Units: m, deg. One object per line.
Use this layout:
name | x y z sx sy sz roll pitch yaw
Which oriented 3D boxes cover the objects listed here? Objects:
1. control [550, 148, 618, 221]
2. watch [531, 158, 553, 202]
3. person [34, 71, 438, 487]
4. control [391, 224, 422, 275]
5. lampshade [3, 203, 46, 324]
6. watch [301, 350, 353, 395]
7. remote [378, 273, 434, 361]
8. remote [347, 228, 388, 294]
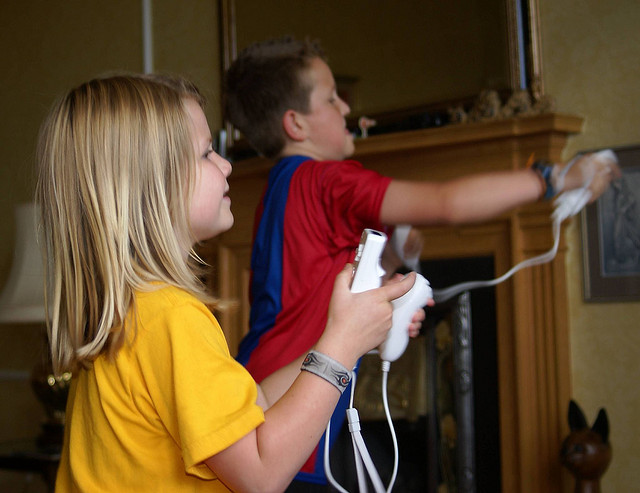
control | 0.499 -0.112 1.337 0.055 0.037 0.140 -2 -42 -50
watch | 0.413 -0.121 1.331 0.023 0.075 0.055 5 13 4
person | -0.229 0.037 1.504 0.638 1.014 0.533 -6 3 -26
control | 0.198 0.006 1.651 0.073 0.109 0.024 -11 13 -40
lampshade | -1.072 0.063 2.560 0.134 0.457 0.366 -3 0 -24
watch | 0.011 0.188 1.096 0.075 0.048 0.074 35 -12 -5
remote | 0.151 0.133 1.285 0.037 0.152 0.092 18 -8 -20
remote | 0.089 0.025 1.222 0.022 0.094 0.089 10 -11 32
